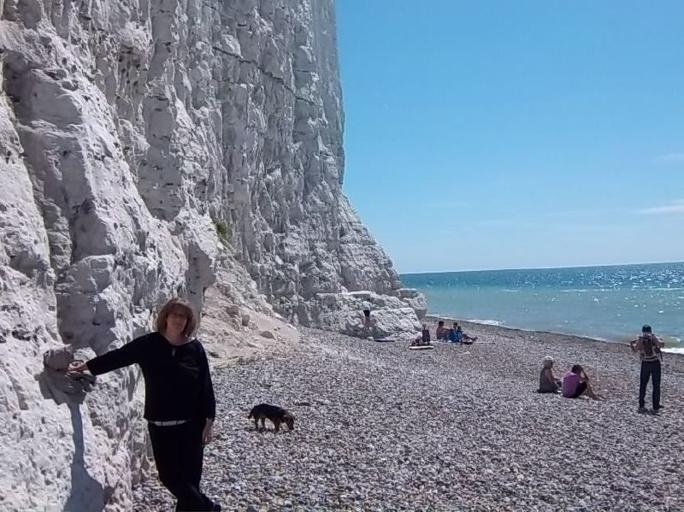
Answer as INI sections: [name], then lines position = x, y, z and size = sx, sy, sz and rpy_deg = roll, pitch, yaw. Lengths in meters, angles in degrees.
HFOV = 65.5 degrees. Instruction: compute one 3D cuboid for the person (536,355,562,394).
[person]
position = 6.099, 3.518, 15.552
size = 0.626, 1.114, 0.985
rpy_deg = 7, 1, 21
